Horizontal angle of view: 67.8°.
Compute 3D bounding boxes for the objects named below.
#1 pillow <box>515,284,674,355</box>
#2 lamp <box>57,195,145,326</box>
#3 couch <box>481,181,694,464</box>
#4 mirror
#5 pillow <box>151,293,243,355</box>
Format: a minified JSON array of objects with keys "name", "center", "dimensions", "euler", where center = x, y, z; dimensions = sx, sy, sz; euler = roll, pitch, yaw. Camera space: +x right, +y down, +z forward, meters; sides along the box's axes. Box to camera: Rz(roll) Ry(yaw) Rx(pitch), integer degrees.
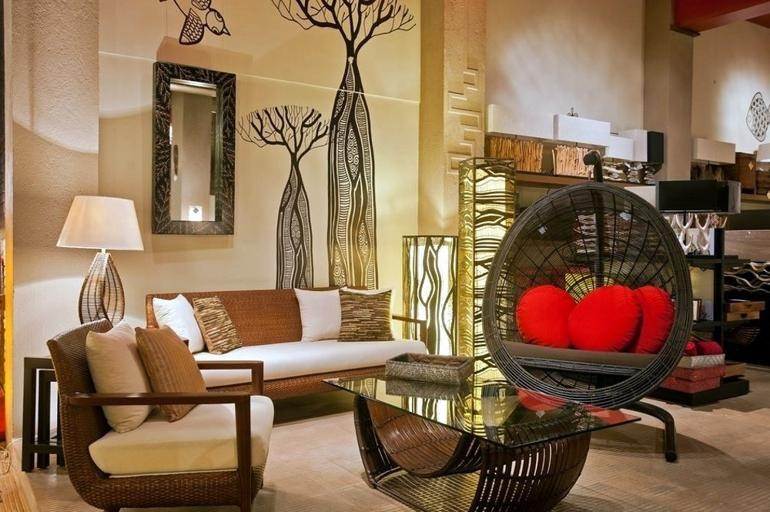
[{"name":"pillow","center":[1.680,0.517,4.587],"dimensions":[0.872,0.618,0.316],"euler":[0,-34,36]},{"name":"lamp","center":[-2.252,0.040,4.543],"dimensions":[0.594,1.022,0.267],"euler":[-5,5,-29]},{"name":"couch","center":[1.708,0.443,4.749],"dimensions":[1.567,2.015,1.098],"euler":[2,-4,28]},{"name":"mirror","center":[-1.786,-0.979,5.354],"dimensions":[0.833,1.566,0.206],"euler":[-4,5,-20]},{"name":"pillow","center":[-1.564,0.597,5.035],"dimensions":[0.499,0.681,0.741],"euler":[-18,-11,28]}]
